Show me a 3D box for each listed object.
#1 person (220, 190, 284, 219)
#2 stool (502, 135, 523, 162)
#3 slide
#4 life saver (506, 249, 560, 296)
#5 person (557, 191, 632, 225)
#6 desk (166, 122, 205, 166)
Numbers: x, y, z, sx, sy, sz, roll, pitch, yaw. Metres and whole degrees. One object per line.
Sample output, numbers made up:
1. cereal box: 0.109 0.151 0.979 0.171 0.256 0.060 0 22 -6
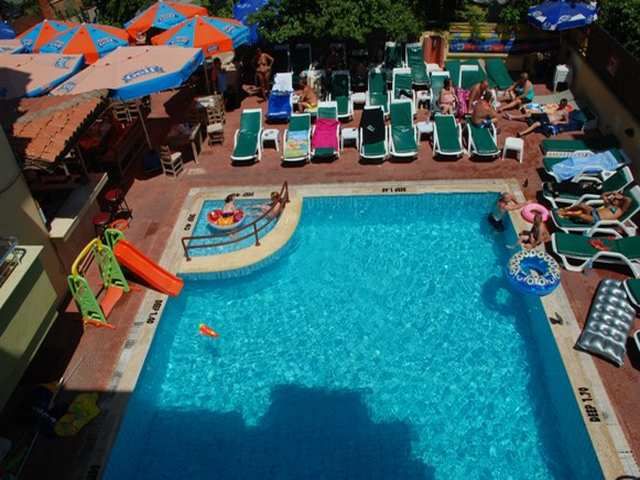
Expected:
1. person: -1.468 -1.243 12.788 0.973 0.259 1.141 -1 65 7
2. stool: 6.541 -3.096 14.350 0.712 0.727 0.721 20 53 22
3. slide: -4.501 0.805 11.258 1.778 1.313 0.623 18 51 21
4. life saver: 5.095 0.722 10.234 1.065 0.388 1.159 -21 48 -6
5. person: 7.370 -0.932 11.540 1.675 1.102 0.857 9 17 16
6. desk: -4.923 -3.437 15.877 1.226 1.327 1.892 4 66 5
